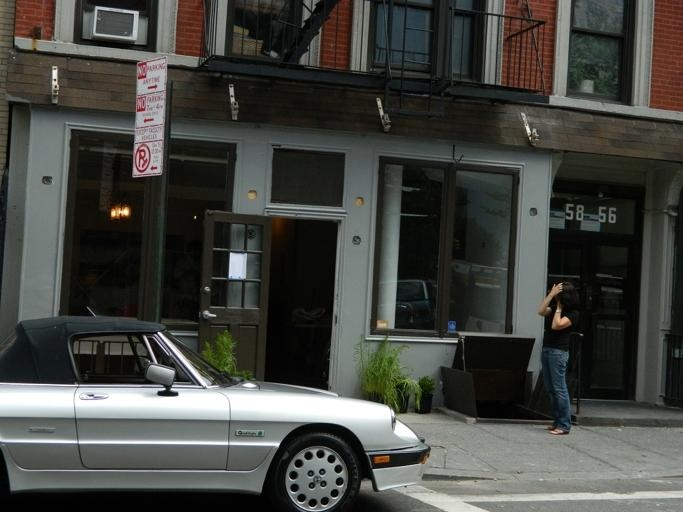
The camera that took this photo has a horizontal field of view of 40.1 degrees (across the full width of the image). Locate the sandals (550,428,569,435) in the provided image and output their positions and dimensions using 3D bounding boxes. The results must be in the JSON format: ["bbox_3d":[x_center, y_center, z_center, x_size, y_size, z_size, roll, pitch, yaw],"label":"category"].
[{"bbox_3d":[3.284,2.645,14.059,0.262,0.073,0.109,5,-5,-15],"label":"sandals"}]

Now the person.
[{"bbox_3d":[3.260,1.552,14.155,0.413,2.095,0.554,2,0,-39],"label":"person"}]

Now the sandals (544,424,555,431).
[{"bbox_3d":[3.156,2.601,14.165,0.151,0.055,0.059,2,-1,-10],"label":"sandals"}]
